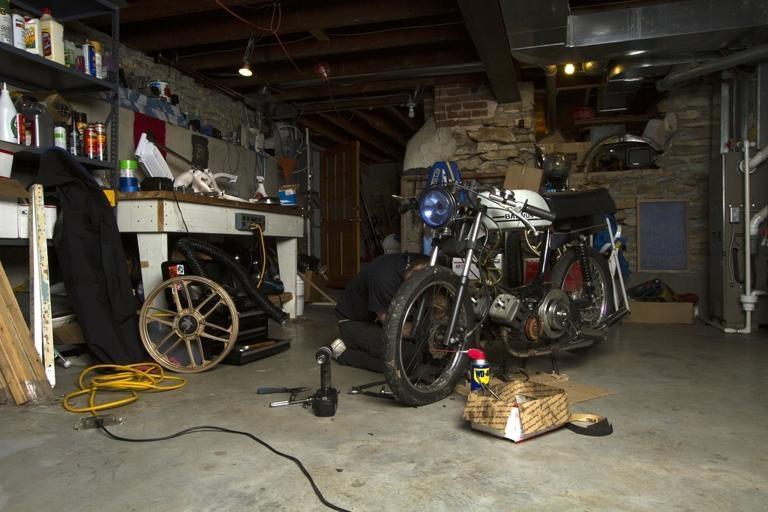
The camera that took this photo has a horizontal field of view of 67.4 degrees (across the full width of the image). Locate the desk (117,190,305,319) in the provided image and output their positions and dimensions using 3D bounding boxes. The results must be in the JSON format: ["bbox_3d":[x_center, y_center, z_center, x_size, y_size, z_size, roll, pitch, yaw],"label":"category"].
[{"bbox_3d":[-1.521,-0.024,4.916,0.435,0.816,1.443,2,3,24],"label":"desk"}]

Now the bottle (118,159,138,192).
[{"bbox_3d":[-2.174,-0.690,4.895,0.154,0.270,0.335,-3,6,-23],"label":"bottle"}]

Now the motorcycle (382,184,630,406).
[{"bbox_3d":[0.851,0.124,4.509,2.554,1.217,1.045,-6,5,-38],"label":"motorcycle"}]

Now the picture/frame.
[{"bbox_3d":[3.425,-0.252,7.083,0.553,0.855,0.146,0,6,6],"label":"picture/frame"}]

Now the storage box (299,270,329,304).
[{"bbox_3d":[-1.013,0.458,8.221,0.500,0.425,0.361,-4,4,-3],"label":"storage box"}]

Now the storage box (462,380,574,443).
[{"bbox_3d":[0.837,0.935,3.568,0.622,0.252,0.461,-5,6,-41],"label":"storage box"}]

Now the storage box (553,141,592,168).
[{"bbox_3d":[2.543,-1.377,7.780,0.489,0.318,0.173,2,6,20],"label":"storage box"}]
